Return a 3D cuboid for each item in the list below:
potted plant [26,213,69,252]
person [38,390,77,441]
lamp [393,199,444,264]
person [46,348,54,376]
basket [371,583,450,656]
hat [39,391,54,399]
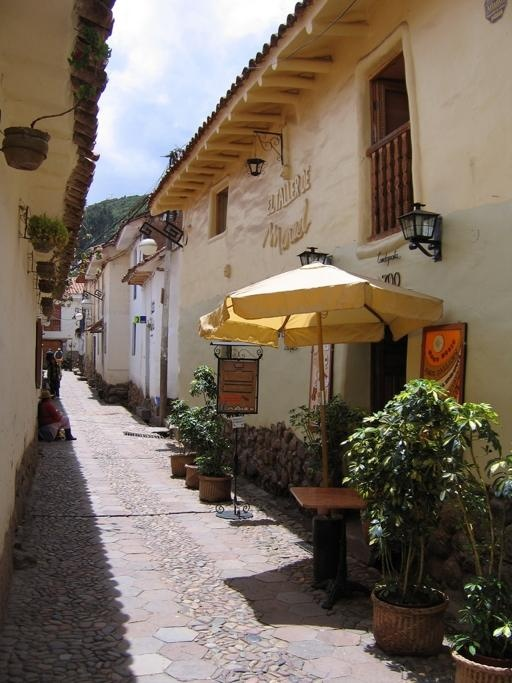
[{"bbox_3d":[-1.812,-0.942,5.479,0.346,0.334,0.346,1,-1,-38],"label":"potted plant"},{"bbox_3d":[-4.298,1.582,13.449,0.702,1.076,1.379,1,-3,8],"label":"person"},{"bbox_3d":[1.307,-0.832,4.942,0.238,0.372,0.440,0,-4,36],"label":"lamp"},{"bbox_3d":[-7.109,0.761,21.727,0.258,0.797,1.239,3,-3,-17],"label":"person"},{"bbox_3d":[0.873,1.622,3.691,0.377,0.254,0.368,1,-14,0],"label":"basket"},{"bbox_3d":[-4.378,1.108,13.035,0.190,0.189,0.525,3,-3,-25],"label":"hat"}]
